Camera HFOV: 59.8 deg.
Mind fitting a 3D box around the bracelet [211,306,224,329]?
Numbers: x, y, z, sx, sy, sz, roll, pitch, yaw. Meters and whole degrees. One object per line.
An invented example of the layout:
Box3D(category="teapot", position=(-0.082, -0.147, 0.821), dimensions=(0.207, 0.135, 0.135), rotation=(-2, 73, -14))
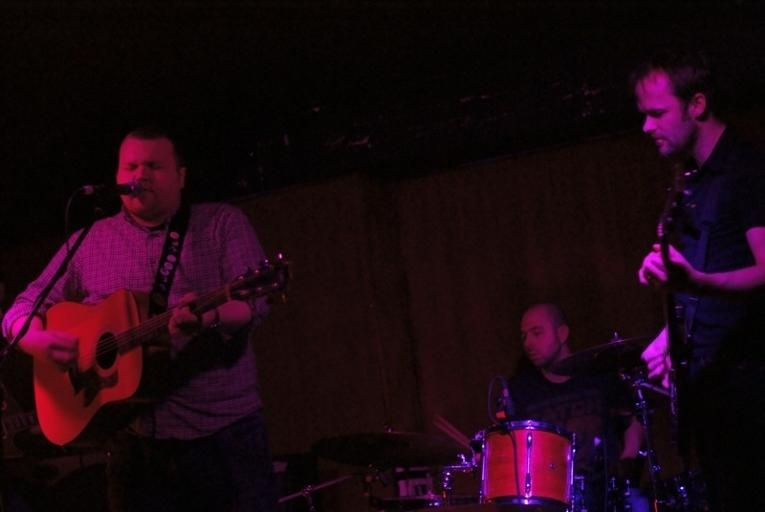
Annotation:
Box3D(category="bracelet", position=(-0.796, 0.306, 3.231), dimensions=(0.066, 0.089, 0.022), rotation=(17, 19, 37))

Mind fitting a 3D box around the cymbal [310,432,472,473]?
Box3D(category="cymbal", position=(0.032, 1.211, 4.117), dimensions=(0.896, 0.299, 0.515), rotation=(-6, -7, 4))
